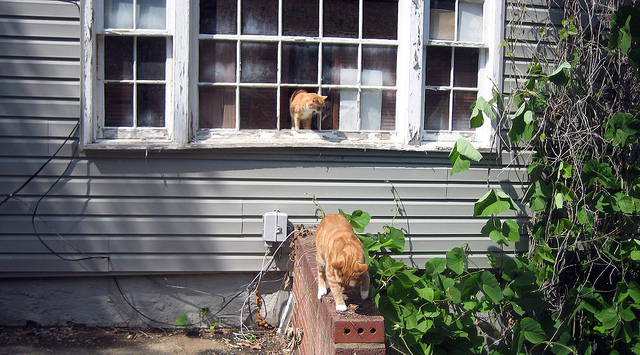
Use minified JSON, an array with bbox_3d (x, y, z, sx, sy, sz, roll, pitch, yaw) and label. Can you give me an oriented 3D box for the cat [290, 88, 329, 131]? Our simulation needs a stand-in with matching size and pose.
[{"bbox_3d":[-0.224,-0.853,10.316,0.261,0.551,0.973,12,-1,-17],"label":"cat"}]
